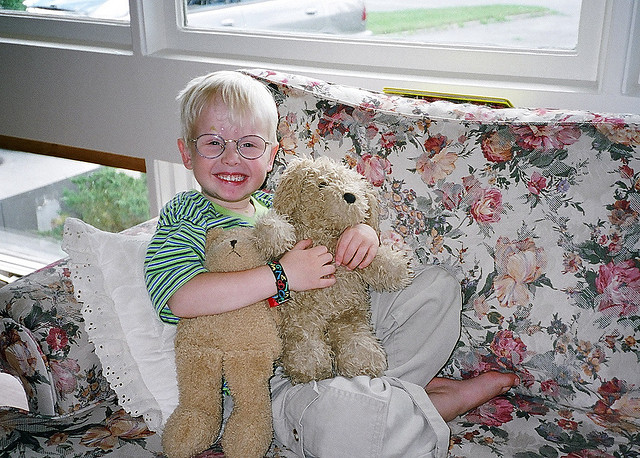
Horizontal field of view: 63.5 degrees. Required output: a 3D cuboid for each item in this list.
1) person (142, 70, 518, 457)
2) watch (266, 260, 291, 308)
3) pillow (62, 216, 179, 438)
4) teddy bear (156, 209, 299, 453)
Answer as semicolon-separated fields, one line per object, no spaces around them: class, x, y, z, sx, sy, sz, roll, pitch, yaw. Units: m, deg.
person;0.045;-0.057;1.478;0.944;1.051;0.727;9;26;33
watch;-0.092;0.118;1.132;0.050;0.078;0.080;-20;5;5
pillow;-0.437;0.225;1.178;0.201;0.502;0.263;-10;14;-30
teddy bear;-0.203;0.228;1.149;0.348;0.519;0.223;-7;13;-20
